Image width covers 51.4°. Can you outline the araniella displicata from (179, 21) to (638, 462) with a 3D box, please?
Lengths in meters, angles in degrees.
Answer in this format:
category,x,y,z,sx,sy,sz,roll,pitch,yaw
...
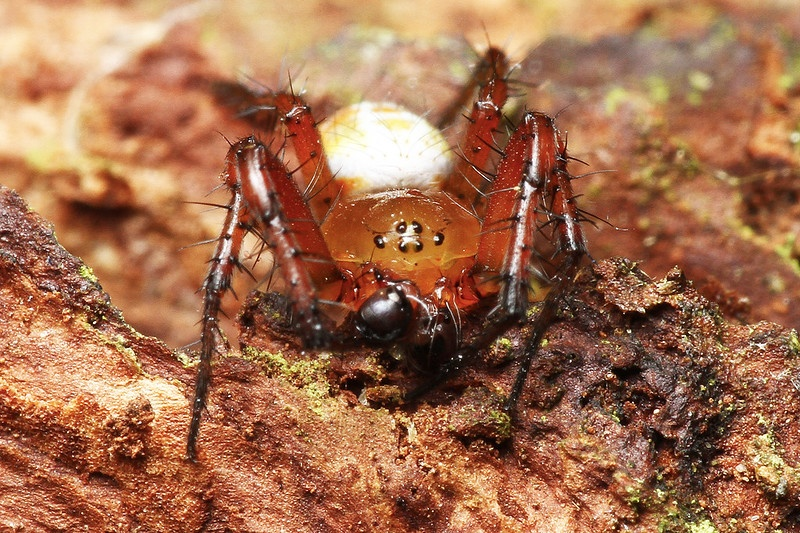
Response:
category,x,y,z,sx,sy,sz,roll,pitch,yaw
araniella displicata,0.110,-0.200,4.935,2.182,2.023,2.101,4,90,6
